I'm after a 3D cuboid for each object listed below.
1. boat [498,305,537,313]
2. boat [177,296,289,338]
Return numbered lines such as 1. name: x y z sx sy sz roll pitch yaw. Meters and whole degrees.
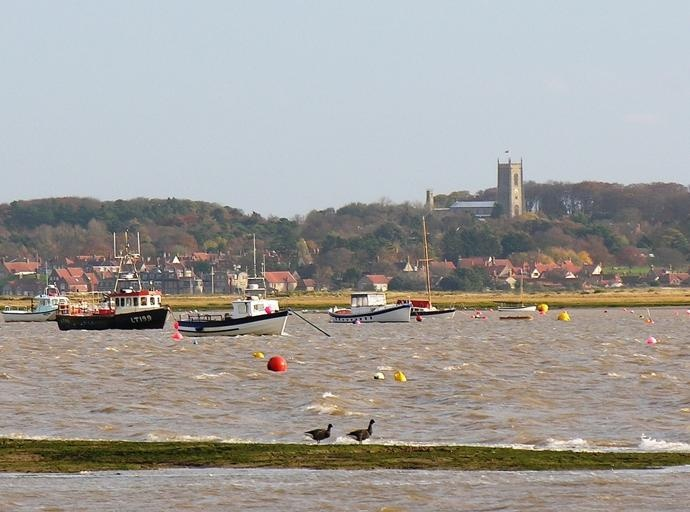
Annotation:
1. boat: 19.282 5.575 200.710 4.048 0.927 9.432 -2 -4 4
2. boat: -8.714 5.094 150.008 7.596 2.485 4.009 -2 2 15
